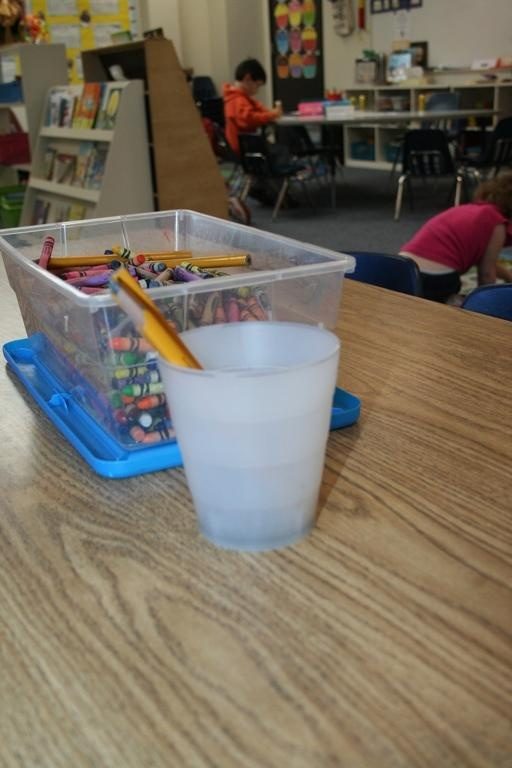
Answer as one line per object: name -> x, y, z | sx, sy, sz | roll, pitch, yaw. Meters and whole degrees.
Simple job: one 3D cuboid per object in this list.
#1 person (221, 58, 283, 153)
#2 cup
person -> -0.036, -2.714, 5.875 | 0.567, 0.812, 0.854 | -3, 27, -2
cup -> -0.013, 0.028, 0.401 | 0.129, 0.136, 0.125 | -1, 19, 0
